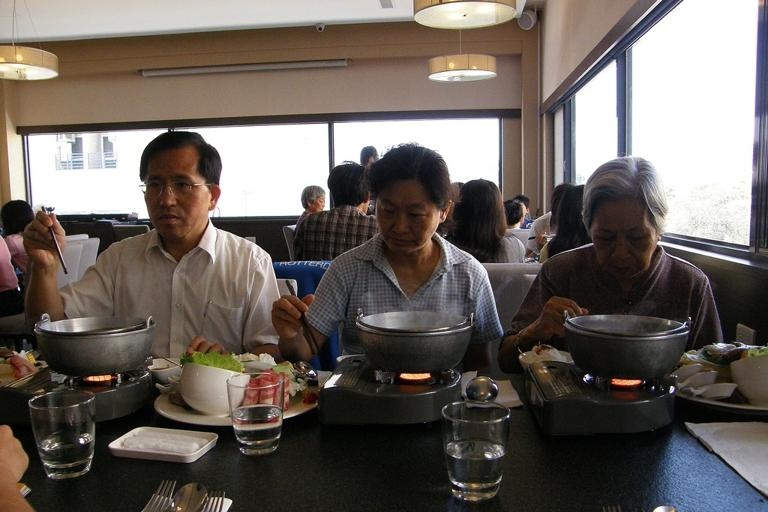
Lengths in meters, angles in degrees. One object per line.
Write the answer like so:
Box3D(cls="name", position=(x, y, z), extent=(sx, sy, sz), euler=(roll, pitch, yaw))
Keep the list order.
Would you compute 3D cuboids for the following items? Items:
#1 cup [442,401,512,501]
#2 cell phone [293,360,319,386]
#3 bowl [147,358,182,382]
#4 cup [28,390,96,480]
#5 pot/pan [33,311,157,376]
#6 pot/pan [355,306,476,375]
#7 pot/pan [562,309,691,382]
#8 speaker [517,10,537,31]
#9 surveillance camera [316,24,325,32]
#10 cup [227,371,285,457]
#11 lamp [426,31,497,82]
Box3D(cls="cup", position=(0.196, 0.421, 1.234), extent=(0.180, 0.201, 0.187), euler=(0, -3, 0))
Box3D(cls="cell phone", position=(-0.231, 0.340, 1.648), extent=(0.053, 0.059, 0.070), euler=(22, 20, 39))
Box3D(cls="bowl", position=(-0.690, 0.355, 1.752), extent=(0.089, 0.033, 0.096), euler=(3, 5, 0))
Box3D(cls="cup", position=(-0.757, 0.442, 1.337), extent=(0.149, 0.170, 0.150), euler=(-9, -9, -1))
Box3D(cls="pot/pan", position=(-0.800, 0.250, 1.554), extent=(0.285, 0.175, 0.237), euler=(-7, 8, -31))
Box3D(cls="pot/pan", position=(0.134, 0.211, 1.516), extent=(0.204, 0.077, 0.199), euler=(5, 13, 0))
Box3D(cls="pot/pan", position=(0.656, 0.240, 1.530), extent=(0.321, 0.145, 0.341), euler=(2, 4, 37))
Box3D(cls="speaker", position=(1.927, -3.200, 7.500), extent=(0.288, 0.258, 0.287), euler=(-1, 7, 13))
Box3D(cls="surveillance camera", position=(-0.901, -3.236, 7.882), extent=(0.081, 0.050, 0.129), euler=(-4, 10, 14))
Box3D(cls="cup", position=(-0.319, 0.411, 1.422), extent=(0.158, 0.174, 0.159), euler=(-4, -5, 0))
Box3D(cls="lamp", position=(0.889, -2.209, 6.439), extent=(0.548, 0.578, 0.534), euler=(-2, 4, -39))
